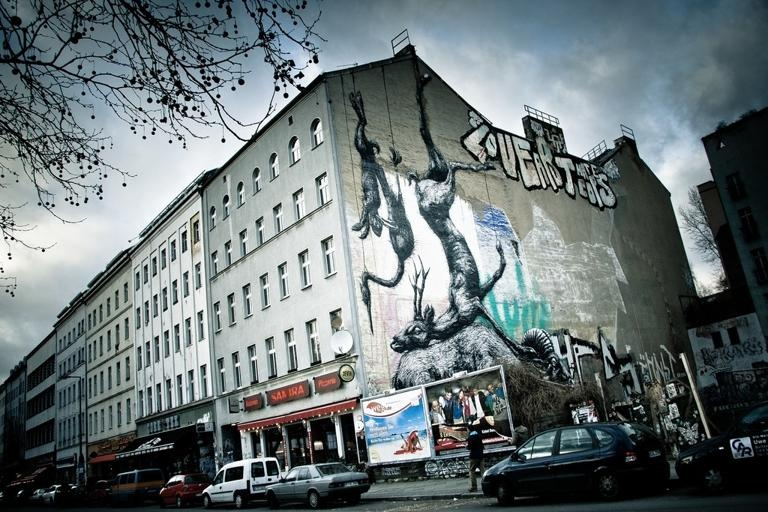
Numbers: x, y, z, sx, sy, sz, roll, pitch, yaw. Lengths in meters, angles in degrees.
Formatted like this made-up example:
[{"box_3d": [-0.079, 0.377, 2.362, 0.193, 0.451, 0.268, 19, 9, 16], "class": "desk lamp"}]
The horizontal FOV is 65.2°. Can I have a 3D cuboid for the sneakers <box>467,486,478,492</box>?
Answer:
[{"box_3d": [3.699, 9.733, 24.937, 0.384, 0.192, 0.185, 4, -11, -6], "class": "sneakers"}]
